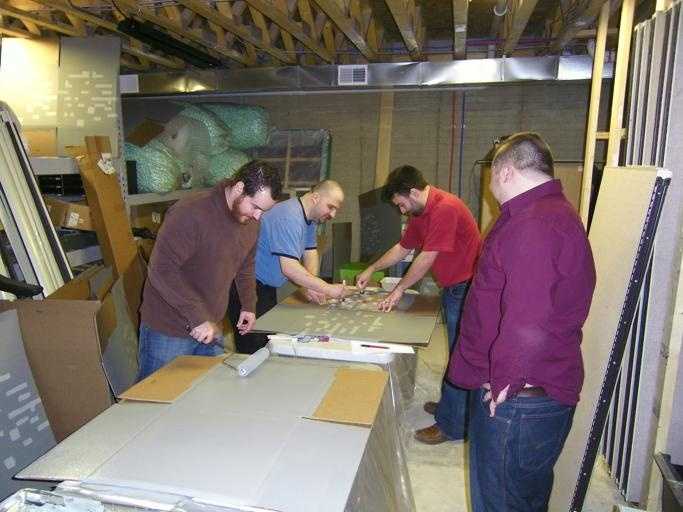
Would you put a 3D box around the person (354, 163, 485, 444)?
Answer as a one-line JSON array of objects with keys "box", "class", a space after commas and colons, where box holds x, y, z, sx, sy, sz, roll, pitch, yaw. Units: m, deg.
[{"box": [0.568, 0.336, 3.627, 0.961, 1.788, 0.800, -2, 7, -16], "class": "person"}]

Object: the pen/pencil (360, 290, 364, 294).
[{"box": [0.136, 0.235, 3.413, 0.029, 0.025, 0.016, 1, 14, 10], "class": "pen/pencil"}]
